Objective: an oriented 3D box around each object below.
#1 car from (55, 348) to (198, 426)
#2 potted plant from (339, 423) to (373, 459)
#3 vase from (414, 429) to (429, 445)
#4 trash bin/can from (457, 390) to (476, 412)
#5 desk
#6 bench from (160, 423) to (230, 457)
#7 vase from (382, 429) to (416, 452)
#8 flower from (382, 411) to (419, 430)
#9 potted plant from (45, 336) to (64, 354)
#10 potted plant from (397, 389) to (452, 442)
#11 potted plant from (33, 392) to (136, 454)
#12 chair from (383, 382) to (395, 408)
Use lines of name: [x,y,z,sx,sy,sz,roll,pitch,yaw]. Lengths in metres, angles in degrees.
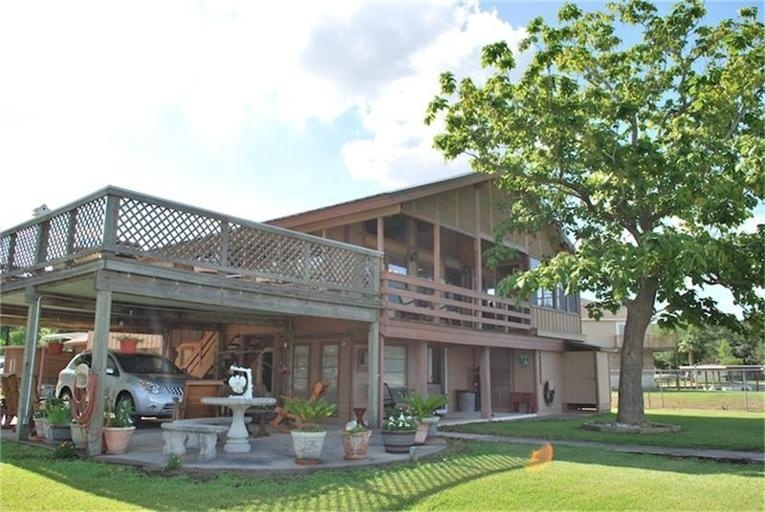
car: [-7.466,3.850,17.011,4.678,1.935,2.399,-9,-17,29]
potted plant: [-0.586,4.127,12.773,0.616,0.821,0.585,-1,-15,-1]
vase: [1.028,4.592,14.494,0.437,0.313,0.425,-8,-12,34]
trash bin/can: [3.521,6.055,23.725,0.770,0.812,0.765,-7,-11,36]
desk: [-3.383,3.997,13.664,1.832,1.270,1.785,1,-8,-14]
bench: [-4.221,4.097,12.680,1.454,0.684,0.626,-2,-7,22]
vase: [0.388,4.366,13.426,0.761,0.529,0.363,0,-15,-2]
flower: [0.366,3.994,13.685,0.557,0.375,0.566,7,-11,-44]
potted plant: [-11.698,3.169,20.352,0.589,0.409,0.575,-7,-12,27]
potted plant: [0.966,4.217,14.699,1.300,1.187,1.333,4,-12,-28]
potted plant: [-6.895,3.887,13.133,3.036,1.230,0.956,-13,-19,36]
chair: [0.263,4.879,20.181,0.369,0.765,0.625,-1,-15,1]
